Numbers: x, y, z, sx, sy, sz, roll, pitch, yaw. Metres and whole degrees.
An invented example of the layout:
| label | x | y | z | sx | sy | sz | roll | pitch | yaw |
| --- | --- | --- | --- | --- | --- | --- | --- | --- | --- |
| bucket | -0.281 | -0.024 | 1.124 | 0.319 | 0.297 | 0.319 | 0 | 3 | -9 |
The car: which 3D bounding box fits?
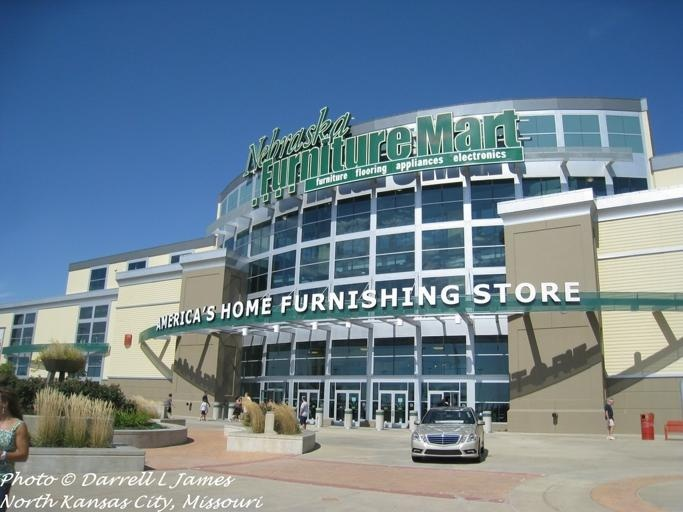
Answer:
| label | x | y | z | sx | sy | sz | roll | pitch | yaw |
| --- | --- | --- | --- | --- | --- | --- | --- | --- | --- |
| car | 3.905 | 6.499 | 18.697 | 2.167 | 2.004 | 2.339 | -18 | -28 | 36 |
